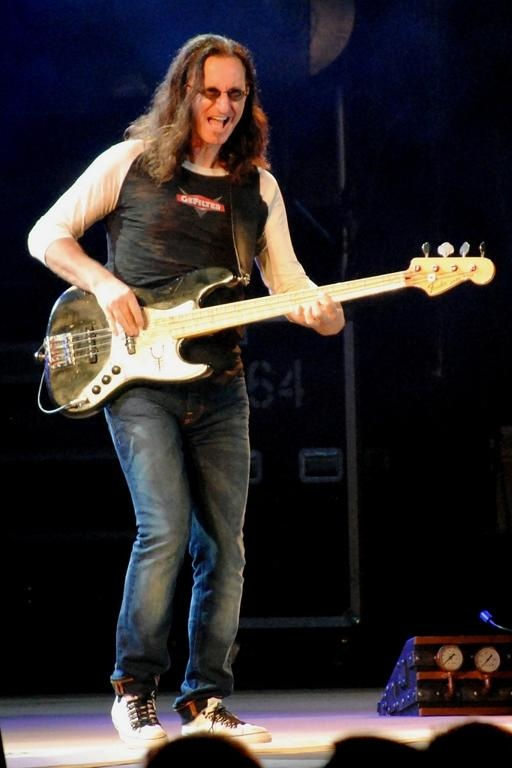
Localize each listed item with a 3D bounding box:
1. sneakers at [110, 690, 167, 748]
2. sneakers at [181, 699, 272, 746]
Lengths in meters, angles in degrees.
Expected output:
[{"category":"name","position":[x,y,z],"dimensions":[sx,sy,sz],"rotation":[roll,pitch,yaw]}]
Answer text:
[{"category":"sneakers","position":[-0.300,0.839,2.357],"dimensions":[0.078,0.083,0.215],"rotation":[1,-8,-21]},{"category":"sneakers","position":[-0.091,0.871,2.430],"dimensions":[0.256,0.107,0.093],"rotation":[-8,-12,20]}]
